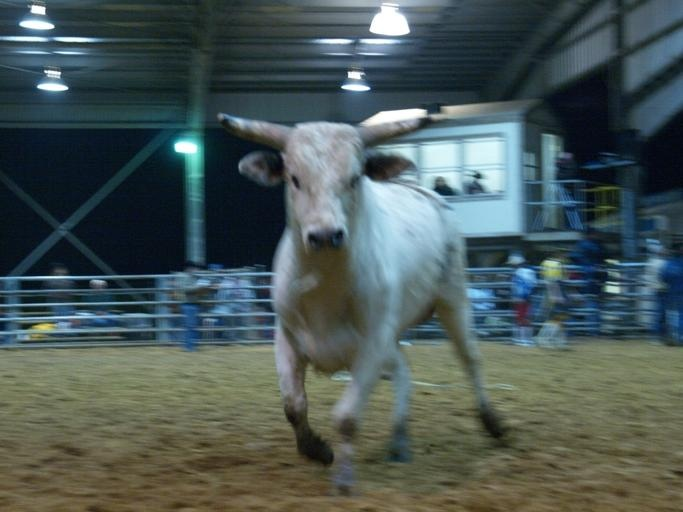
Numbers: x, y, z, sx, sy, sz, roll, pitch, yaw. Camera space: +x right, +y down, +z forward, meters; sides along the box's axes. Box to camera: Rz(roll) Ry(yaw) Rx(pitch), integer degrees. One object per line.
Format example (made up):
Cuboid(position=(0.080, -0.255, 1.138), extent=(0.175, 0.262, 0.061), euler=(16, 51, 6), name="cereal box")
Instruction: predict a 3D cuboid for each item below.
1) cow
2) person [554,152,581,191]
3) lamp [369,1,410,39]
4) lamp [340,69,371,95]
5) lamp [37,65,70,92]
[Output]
Cuboid(position=(0.261, 0.331, 7.667), extent=(1.704, 3.088, 2.609), euler=(5, 7, 32), name="cow")
Cuboid(position=(5.350, -1.987, 19.500), extent=(0.346, 0.788, 0.899), euler=(0, 15, -13), name="person")
Cuboid(position=(1.011, -4.833, 17.655), extent=(1.167, 0.561, 1.010), euler=(1, 9, 0), name="lamp")
Cuboid(position=(0.321, -4.501, 21.620), extent=(0.787, 0.379, 0.684), euler=(0, -5, 5), name="lamp")
Cuboid(position=(-7.201, -4.376, 20.875), extent=(0.901, 0.477, 0.782), euler=(0, -3, -1), name="lamp")
